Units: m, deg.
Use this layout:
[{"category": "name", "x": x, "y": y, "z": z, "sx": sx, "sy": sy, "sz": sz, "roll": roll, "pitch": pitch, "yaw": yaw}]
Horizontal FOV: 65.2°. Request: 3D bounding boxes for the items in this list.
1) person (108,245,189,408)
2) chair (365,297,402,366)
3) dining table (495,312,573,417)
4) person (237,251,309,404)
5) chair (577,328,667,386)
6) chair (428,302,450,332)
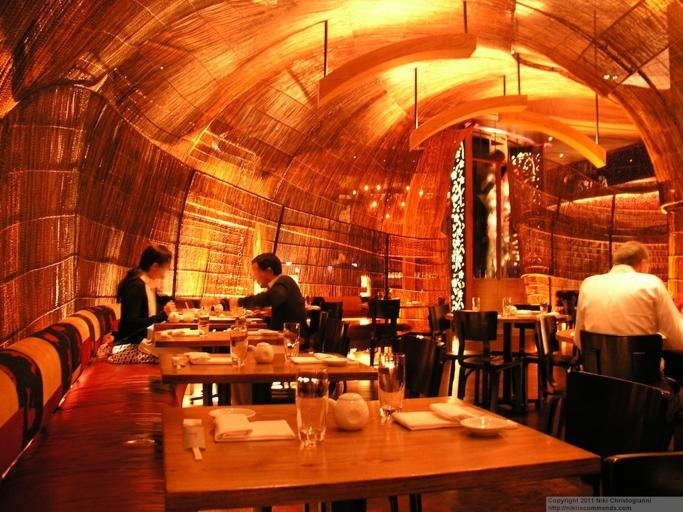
[{"category": "person", "x": -1.777, "y": 0.547, "z": 4.887, "sx": 0.585, "sy": 1.226, "sz": 0.567, "roll": -1, "pitch": 18, "yaw": -22}, {"category": "chair", "x": 0.723, "y": 1.297, "z": 8.887, "sx": 0.645, "sy": 1.195, "sz": 0.636, "roll": -1, "pitch": 0, "yaw": -34}, {"category": "dining table", "x": 2.103, "y": 1.124, "z": 5.759, "sx": 0.778, "sy": 0.861, "sz": 0.790, "roll": 14, "pitch": -17, "yaw": -34}, {"category": "person", "x": -0.667, "y": 0.654, "z": 5.204, "sx": 0.662, "sy": 1.298, "sz": 0.725, "roll": 0, "pitch": 0, "yaw": -5}, {"category": "chair", "x": 1.828, "y": 0.635, "z": 3.587, "sx": 0.396, "sy": 0.394, "sz": 0.520, "roll": 3, "pitch": -4, "yaw": -10}, {"category": "chair", "x": 1.236, "y": 0.815, "z": 7.039, "sx": 0.307, "sy": 0.452, "sz": 0.374, "roll": 1, "pitch": -4, "yaw": -18}]
